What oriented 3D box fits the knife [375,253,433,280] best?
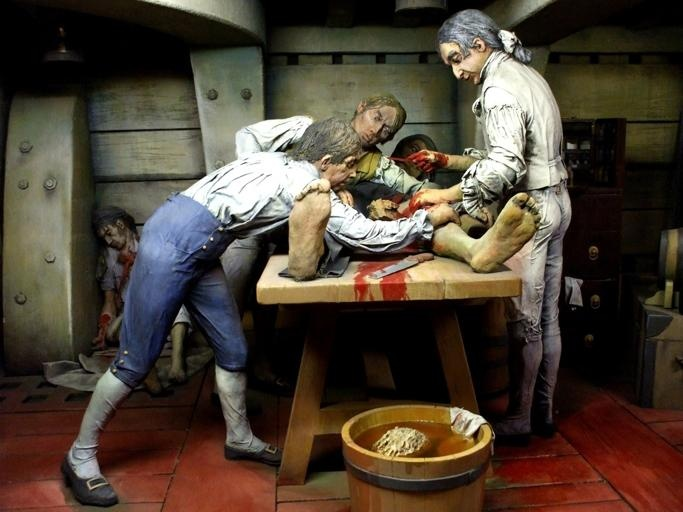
[{"bbox_3d":[0.329,0.048,3.175,0.125,0.055,0.421,2,17,39],"label":"knife"}]

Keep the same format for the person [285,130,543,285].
[{"bbox_3d":[0.382,-0.153,3.179,1.090,0.361,0.661,7,2,13],"label":"person"}]

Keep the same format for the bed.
[{"bbox_3d":[0.193,0.539,3.367,1.273,1.019,1.333,0,2,-7],"label":"bed"}]

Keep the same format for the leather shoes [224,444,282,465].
[{"bbox_3d":[-0.534,1.187,3.617,0.343,0.104,0.139,0,-1,-6],"label":"leather shoes"}]

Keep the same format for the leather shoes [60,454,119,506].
[{"bbox_3d":[-1.446,1.263,3.395,0.422,0.175,0.166,10,4,35],"label":"leather shoes"}]
